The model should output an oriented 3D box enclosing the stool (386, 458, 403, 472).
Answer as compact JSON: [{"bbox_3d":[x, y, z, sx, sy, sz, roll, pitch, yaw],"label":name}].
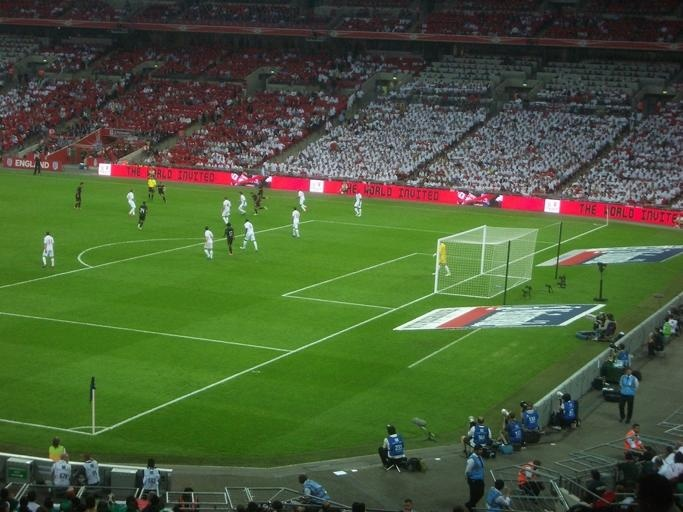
[{"bbox_3d":[2.772,10.738,69.556,0.679,0.753,0.695,3,19,-15],"label":"stool"}]
